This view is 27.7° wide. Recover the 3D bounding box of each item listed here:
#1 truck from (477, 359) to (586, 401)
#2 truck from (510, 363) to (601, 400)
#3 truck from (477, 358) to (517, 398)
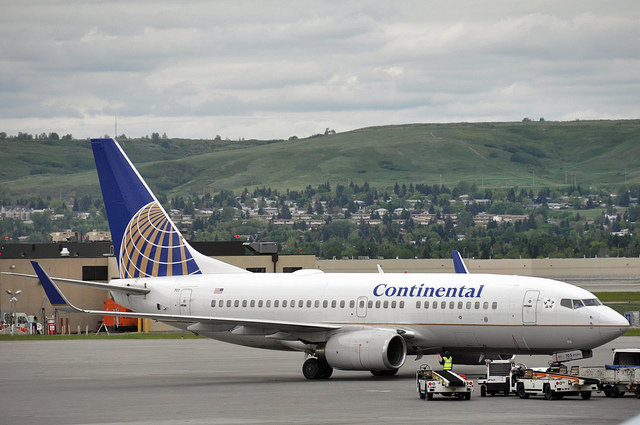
[{"bbox_3d":[11.588,9.539,72.267,5.248,2.139,0.808,4,1,23],"label":"truck"},{"bbox_3d":[12.671,9.644,72.503,3.839,1.038,2.221,3,-7,21],"label":"truck"},{"bbox_3d":[10.473,9.539,73.373,2.404,2.134,1.659,-4,-17,27],"label":"truck"}]
